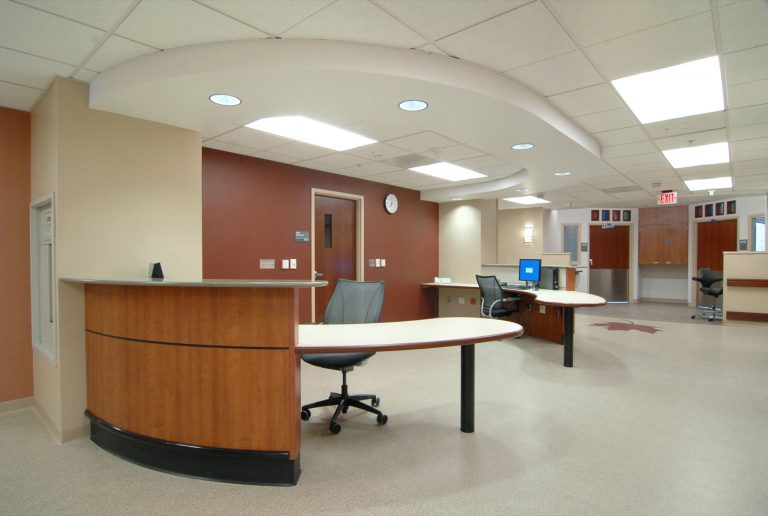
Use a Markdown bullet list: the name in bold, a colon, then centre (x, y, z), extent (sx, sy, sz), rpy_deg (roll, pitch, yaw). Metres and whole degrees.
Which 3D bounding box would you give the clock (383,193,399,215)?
- **clock**: centre (0.110, -1.016, 10.208), extent (0.063, 0.350, 0.369), rpy_deg (5, -10, 32)

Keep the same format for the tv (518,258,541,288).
- **tv**: centre (2.649, 0.277, 9.939), extent (0.157, 0.540, 0.491), rpy_deg (-1, 6, -36)

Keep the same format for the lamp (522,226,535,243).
- **lamp**: centre (3.571, -0.573, 13.605), extent (0.282, 0.434, 0.121), rpy_deg (5, 14, 22)

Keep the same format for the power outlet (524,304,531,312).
- **power outlet**: centre (2.596, 0.898, 9.868), extent (0.110, 0.101, 0.029), rpy_deg (6, -1, 45)

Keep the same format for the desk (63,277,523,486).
- **desk**: centre (-1.438, 1.059, 5.378), extent (3.749, 1.831, 1.088), rpy_deg (2, 13, 10)

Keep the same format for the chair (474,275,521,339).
- **chair**: centre (1.972, 0.800, 9.474), extent (0.707, 1.011, 0.738), rpy_deg (-1, 5, -29)
